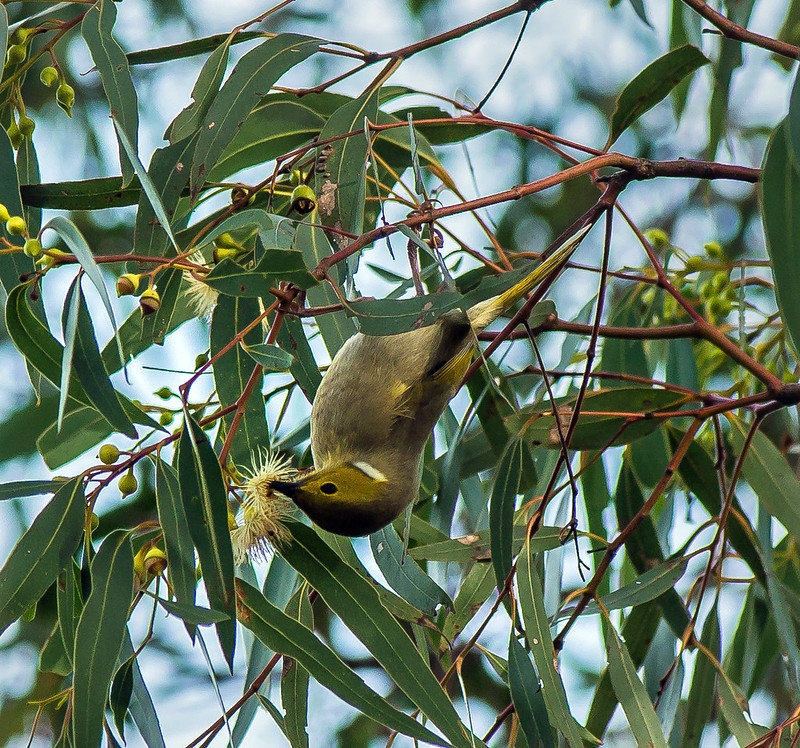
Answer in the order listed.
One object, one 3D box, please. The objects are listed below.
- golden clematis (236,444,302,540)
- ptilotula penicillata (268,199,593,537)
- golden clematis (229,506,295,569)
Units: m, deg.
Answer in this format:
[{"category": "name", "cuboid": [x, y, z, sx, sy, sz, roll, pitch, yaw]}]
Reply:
[{"category": "golden clematis", "cuboid": [-0.299, 0.271, 3.362, 0.090, 0.070, 0.234, 1, -88, -36]}, {"category": "ptilotula penicillata", "cuboid": [0.015, 0.002, 3.503, 0.663, 0.514, 0.636, 10, -79, -13]}, {"category": "golden clematis", "cuboid": [-0.308, 0.340, 3.362, 0.119, 0.098, 0.126, -45, -51, -27]}]
